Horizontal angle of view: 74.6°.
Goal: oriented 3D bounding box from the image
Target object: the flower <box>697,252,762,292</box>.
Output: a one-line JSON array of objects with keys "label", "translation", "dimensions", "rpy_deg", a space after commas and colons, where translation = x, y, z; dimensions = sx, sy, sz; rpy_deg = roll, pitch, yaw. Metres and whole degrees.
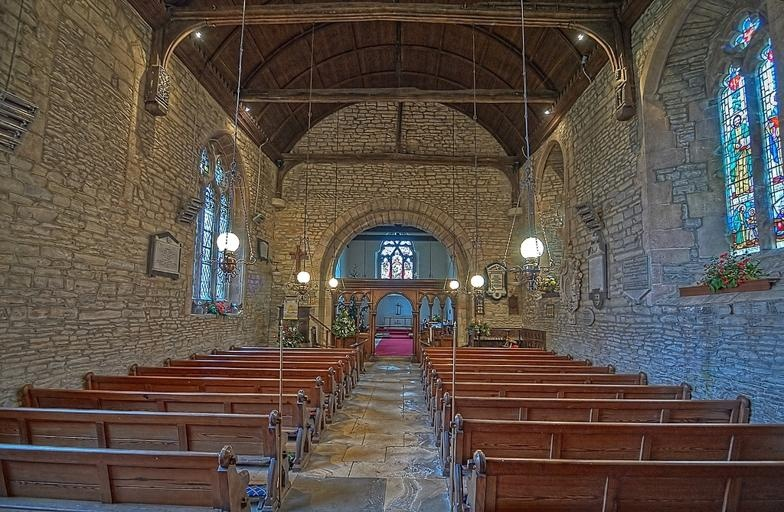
[{"label": "flower", "translation": [5.358, 0.207, 8.255], "dimensions": [0.871, 0.437, 0.768], "rpy_deg": [-23, 15, 4]}]

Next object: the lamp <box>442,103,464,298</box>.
[{"label": "lamp", "translation": [1.981, -1.799, 15.984], "dimensions": [0.602, 5.571, 2.204], "rpy_deg": [4, 8, 3]}]

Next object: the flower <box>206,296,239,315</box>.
[{"label": "flower", "translation": [-4.039, 1.179, 12.047], "dimensions": [0.473, 0.179, 0.460], "rpy_deg": [10, -7, 4]}]
